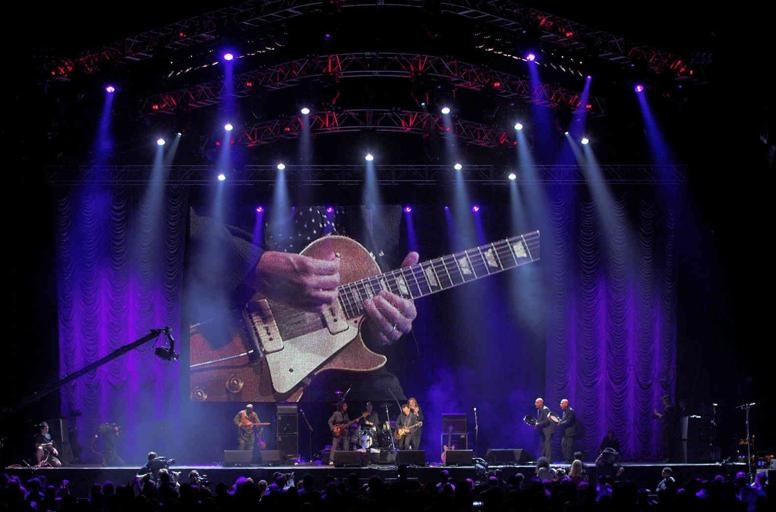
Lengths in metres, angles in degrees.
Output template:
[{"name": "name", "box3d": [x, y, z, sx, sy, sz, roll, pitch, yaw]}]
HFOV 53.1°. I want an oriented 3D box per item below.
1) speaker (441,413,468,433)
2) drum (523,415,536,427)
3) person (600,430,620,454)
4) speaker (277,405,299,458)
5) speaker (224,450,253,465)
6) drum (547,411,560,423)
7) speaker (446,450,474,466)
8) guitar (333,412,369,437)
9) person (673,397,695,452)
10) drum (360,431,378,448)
[{"name": "speaker", "box3d": [1.808, 4.494, 21.352, 0.752, 0.492, 0.442, 0, -2, 3]}, {"name": "drum", "box3d": [3.925, 4.612, 21.651, 0.279, 0.204, 0.478, 43, -15, 11]}, {"name": "person", "box3d": [6.296, 5.323, 22.092, 0.528, 0.601, 1.001, -2, -12, 15]}, {"name": "speaker", "box3d": [-2.807, 4.902, 21.395, 0.590, 1.455, 0.266, 2, -11, -5]}, {"name": "speaker", "box3d": [-3.877, 5.228, 19.973, 0.578, 0.355, 0.432, 1, -4, -5]}, {"name": "drum", "box3d": [4.665, 4.571, 21.868, 0.259, 0.094, 0.367, 16, -13, 31]}, {"name": "speaker", "box3d": [1.766, 5.089, 19.504, 0.710, 0.366, 0.440, 2, -11, -4]}, {"name": "guitar", "box3d": [-1.160, 4.625, 21.425, 1.147, 0.480, 0.142, -15, -14, -31]}, {"name": "person", "box3d": [8.489, 4.872, 22.314, 0.388, 1.399, 0.624, -3, -12, 20]}, {"name": "drum", "box3d": [-0.580, 4.992, 20.983, 0.391, 0.441, 0.542, -1, -12, 9]}]
